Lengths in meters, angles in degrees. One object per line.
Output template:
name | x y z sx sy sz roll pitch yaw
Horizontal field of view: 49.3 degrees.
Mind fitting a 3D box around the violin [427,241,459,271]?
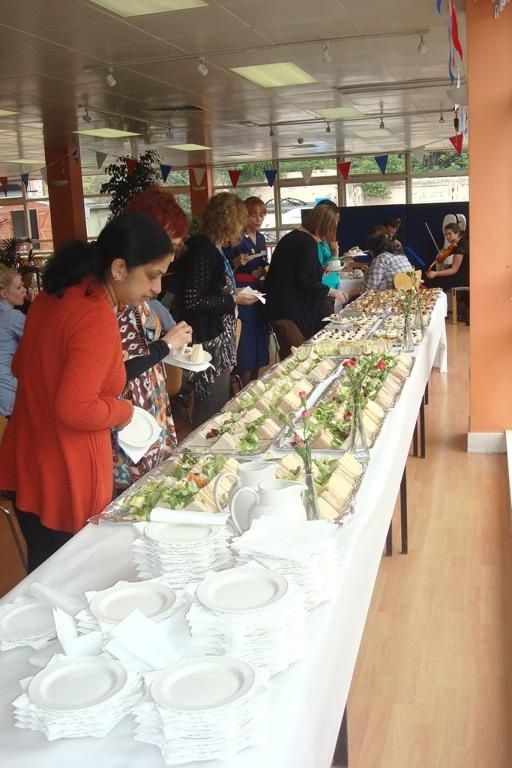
violin | 3.433 -2.260 9.996 0.104 0.522 0.244 33 16 -17

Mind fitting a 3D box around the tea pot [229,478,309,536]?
tea pot | 0.021 0.220 1.024 0.127 0.124 0.097 -4 18 -8

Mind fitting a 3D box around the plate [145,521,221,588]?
plate | -0.124 0.287 0.969 0.096 0.059 0.096 1 8 -2

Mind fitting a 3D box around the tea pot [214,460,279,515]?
tea pot | -0.019 0.212 1.111 0.115 0.111 0.068 -16 30 -27
